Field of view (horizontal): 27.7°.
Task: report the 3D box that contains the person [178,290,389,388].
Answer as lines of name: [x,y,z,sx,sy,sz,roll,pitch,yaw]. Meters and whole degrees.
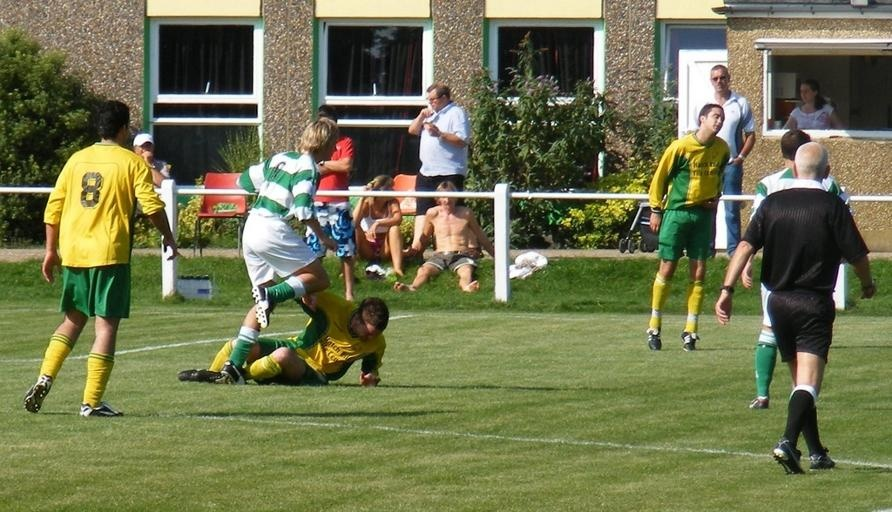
person: [-1.886,1.142,23.627,2.313,1.026,1.031,-4,6,-9]

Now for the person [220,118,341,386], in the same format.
person: [-2.134,-0.097,23.540,1.451,3.429,1.062,-1,3,-5]

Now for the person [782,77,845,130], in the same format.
person: [6.391,-2.681,31.658,1.230,0.898,0.984,-1,3,-17]

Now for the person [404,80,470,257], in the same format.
person: [-0.070,-1.470,29.158,0.906,2.676,1.085,-1,3,-5]

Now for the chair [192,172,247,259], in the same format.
chair: [-3.950,-0.741,32.161,1.063,1.347,1.023,-4,9,-26]

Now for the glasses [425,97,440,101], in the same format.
glasses: [-0.202,-2.524,29.036,0.103,0.085,0.196,-3,4,-39]

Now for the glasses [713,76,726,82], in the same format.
glasses: [4.275,-2.764,28.080,0.228,0.081,0.140,0,3,1]

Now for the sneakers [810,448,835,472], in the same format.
sneakers: [4.498,2.386,21.553,0.338,0.232,0.192,-1,3,-11]

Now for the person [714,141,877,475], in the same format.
person: [4.250,0.584,21.614,1.653,3.880,0.973,0,3,11]

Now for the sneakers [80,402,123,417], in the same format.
sneakers: [-4.250,1.877,22.451,0.482,0.176,0.179,0,0,-3]

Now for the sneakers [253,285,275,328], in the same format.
sneakers: [-2.303,0.624,23.087,0.293,0.535,0.194,-2,0,-1]

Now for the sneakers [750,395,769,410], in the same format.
sneakers: [3.995,1.844,23.025,0.242,0.151,0.143,11,2,3]

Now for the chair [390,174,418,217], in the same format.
chair: [-0.678,-1.141,31.973,0.628,0.863,0.681,0,0,-3]

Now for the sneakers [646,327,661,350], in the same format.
sneakers: [2.958,1.148,25.541,0.196,0.275,0.437,0,3,6]

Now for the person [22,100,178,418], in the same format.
person: [-4.323,-0.003,22.582,1.675,3.894,0.727,0,3,2]
